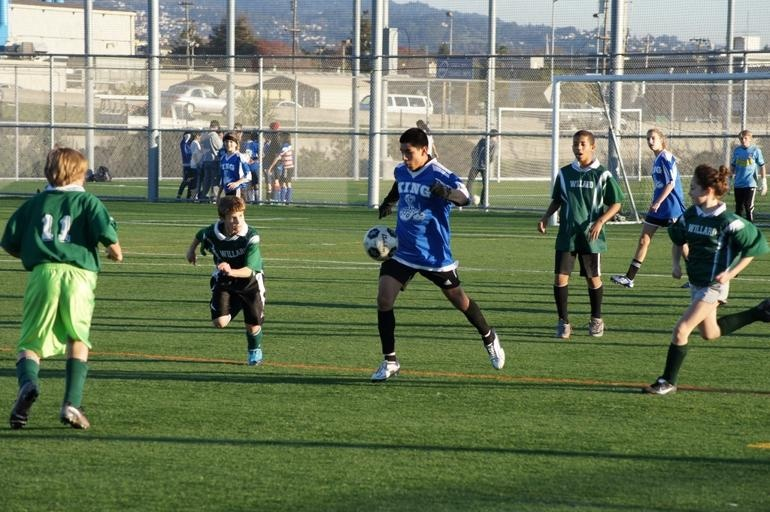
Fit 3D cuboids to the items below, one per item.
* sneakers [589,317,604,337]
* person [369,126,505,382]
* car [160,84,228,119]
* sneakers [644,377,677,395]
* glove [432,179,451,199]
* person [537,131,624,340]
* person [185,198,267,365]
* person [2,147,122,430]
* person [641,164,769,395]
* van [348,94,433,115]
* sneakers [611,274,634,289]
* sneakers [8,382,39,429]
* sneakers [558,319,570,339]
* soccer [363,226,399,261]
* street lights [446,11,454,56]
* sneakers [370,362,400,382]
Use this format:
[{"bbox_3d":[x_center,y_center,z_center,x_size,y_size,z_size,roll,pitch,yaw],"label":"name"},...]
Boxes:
[{"bbox_3d":[2.438,0.818,12.678,0.155,0.197,0.208,1,-7,7],"label":"sneakers"},{"bbox_3d":[0.476,-0.016,11.139,1.193,2.466,0.686,0,14,-1],"label":"person"},{"bbox_3d":[-6.910,-5.470,40.042,1.426,1.104,3.490,11,17,44],"label":"car"},{"bbox_3d":[2.720,1.286,10.810,0.352,0.151,0.126,2,-4,-9],"label":"sneakers"},{"bbox_3d":[0.557,-0.647,10.823,0.173,0.154,0.167,4,15,14],"label":"glove"},{"bbox_3d":[2.288,-0.259,12.829,0.887,2.344,1.159,3,14,8],"label":"person"},{"bbox_3d":[-1.605,0.212,11.646,0.631,1.731,0.760,-3,14,-14],"label":"person"},{"bbox_3d":[-2.919,0.304,9.925,1.018,2.456,0.860,-3,14,-14],"label":"person"},{"bbox_3d":[3.293,0.195,10.945,1.058,2.179,1.194,5,15,19],"label":"person"},{"bbox_3d":[0.382,-5.462,39.955,2.421,1.049,1.297,3,7,-5],"label":"van"},{"bbox_3d":[3.252,0.351,15.027,0.276,0.132,0.098,21,13,-21],"label":"sneakers"},{"bbox_3d":[-3.270,1.361,9.983,0.136,0.388,0.195,19,5,-29],"label":"sneakers"},{"bbox_3d":[2.064,0.820,12.649,0.157,0.195,0.288,3,14,10],"label":"sneakers"},{"bbox_3d":[-0.057,-0.155,11.494,0.355,0.342,0.394,6,-13,-22],"label":"soccer"},{"bbox_3d":[1.685,-5.770,28.508,0.178,1.051,0.281,1,14,3],"label":"street lights"},{"bbox_3d":[0.013,1.151,11.165,0.294,0.137,0.159,-22,16,-37],"label":"sneakers"}]
